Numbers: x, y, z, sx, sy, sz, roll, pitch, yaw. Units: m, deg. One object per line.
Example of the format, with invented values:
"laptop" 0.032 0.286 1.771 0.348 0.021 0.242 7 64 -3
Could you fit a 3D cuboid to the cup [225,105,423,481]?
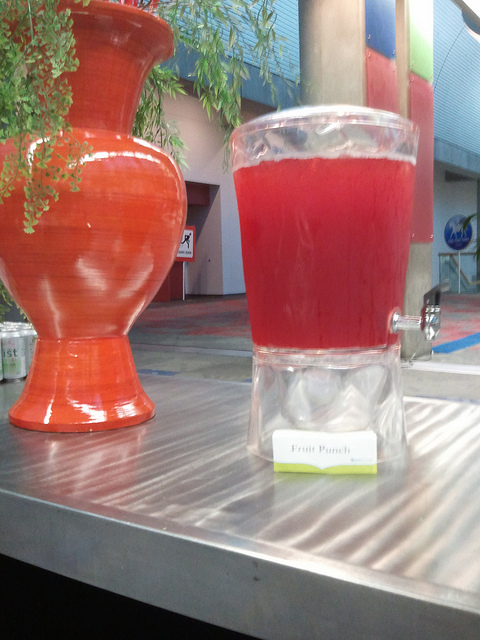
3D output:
"cup" 0.086 -0.037 0.498 0.182 0.443 0.216 0 5 17
